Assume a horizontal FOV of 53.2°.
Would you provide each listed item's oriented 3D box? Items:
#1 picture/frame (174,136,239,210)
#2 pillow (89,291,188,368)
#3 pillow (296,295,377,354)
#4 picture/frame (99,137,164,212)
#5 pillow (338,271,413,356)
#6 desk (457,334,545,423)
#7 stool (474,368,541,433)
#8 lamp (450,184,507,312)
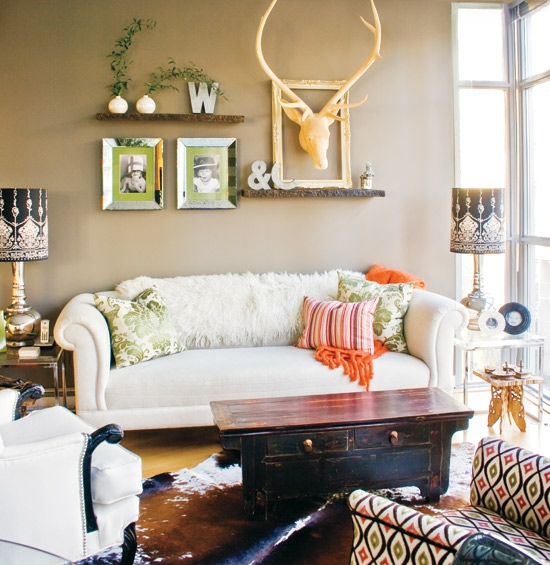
[{"bbox_3d":[-0.490,-0.772,3.781,0.561,0.582,0.063,-1,5,-8],"label":"picture/frame"},{"bbox_3d":[-0.807,0.210,3.179,0.143,0.450,0.486,-23,-14,36],"label":"pillow"},{"bbox_3d":[0.375,0.248,3.304,0.507,0.298,0.165,0,-3,40],"label":"pillow"},{"bbox_3d":[-0.986,-0.757,3.719,0.563,0.579,0.043,0,4,-7],"label":"picture/frame"},{"bbox_3d":[0.570,0.185,3.355,0.490,0.437,0.188,8,-3,-6],"label":"pillow"},{"bbox_3d":[1.400,0.517,3.495,0.664,0.567,0.593,0,1,1],"label":"desk"},{"bbox_3d":[1.321,0.662,3.181,0.300,0.384,0.260,-3,8,-15],"label":"stool"},{"bbox_3d":[1.334,-0.215,3.633,0.343,0.820,0.253,1,8,16],"label":"lamp"}]
